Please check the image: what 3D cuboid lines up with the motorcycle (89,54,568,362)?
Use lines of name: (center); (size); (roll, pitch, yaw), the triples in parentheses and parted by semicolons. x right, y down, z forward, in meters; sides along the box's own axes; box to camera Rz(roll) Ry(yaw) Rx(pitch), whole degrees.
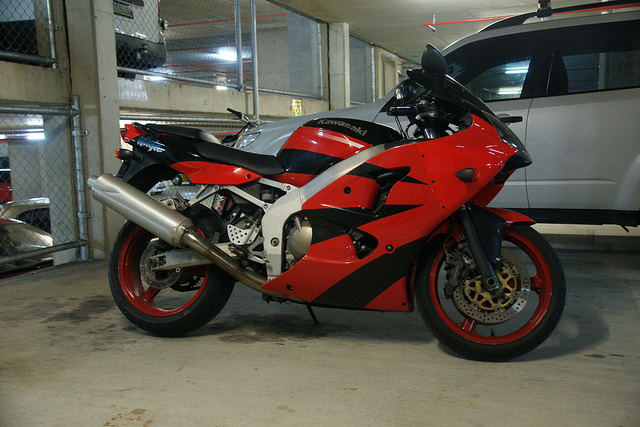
motorcycle: (-0.022, 0.002, 3.813); (3.583, 1.683, 0.958); (2, -7, 16)
